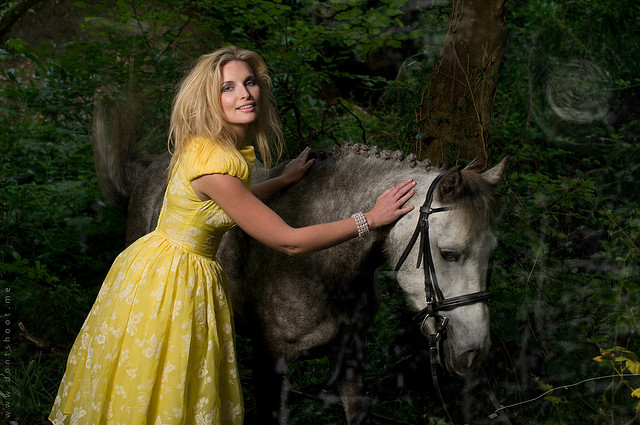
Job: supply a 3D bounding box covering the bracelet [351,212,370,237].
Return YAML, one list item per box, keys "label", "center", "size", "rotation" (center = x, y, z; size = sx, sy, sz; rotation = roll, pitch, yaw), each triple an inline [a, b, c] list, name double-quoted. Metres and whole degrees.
- label: "bracelet"
  center: [0.293, 0.089, 5.267]
  size: [0.066, 0.147, 0.119]
  rotation: [-17, 25, -16]
